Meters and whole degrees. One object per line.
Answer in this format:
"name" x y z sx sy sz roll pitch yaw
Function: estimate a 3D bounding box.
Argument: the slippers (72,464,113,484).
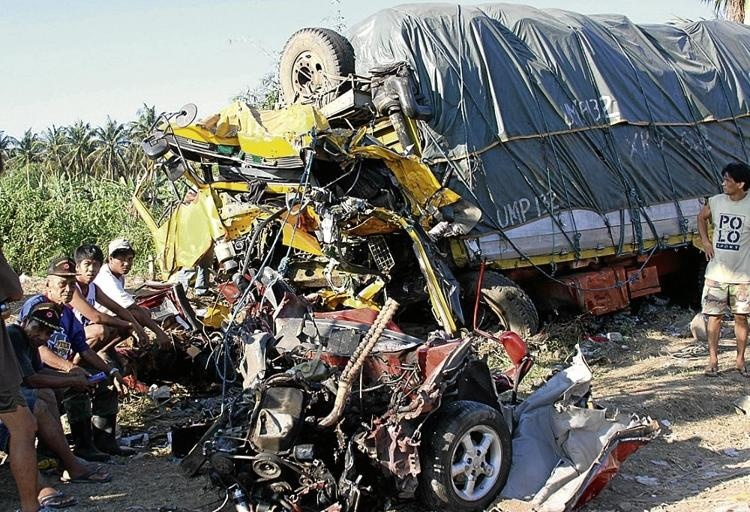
"slippers" -2.681 2.092 6.335 0.271 0.075 0.154 3 15 3

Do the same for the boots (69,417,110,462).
"boots" -2.889 1.874 6.765 0.454 0.461 0.219 6 8 1

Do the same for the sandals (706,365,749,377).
"sandals" 4.499 1.486 8.568 0.587 0.166 0.217 -1 5 7
